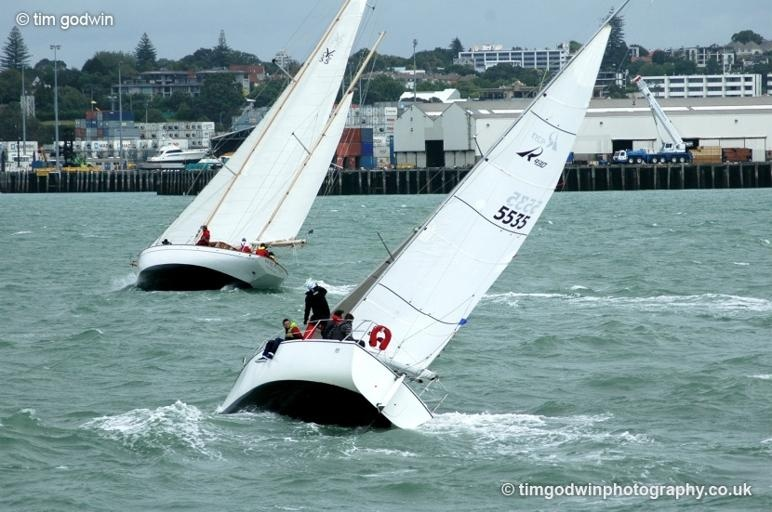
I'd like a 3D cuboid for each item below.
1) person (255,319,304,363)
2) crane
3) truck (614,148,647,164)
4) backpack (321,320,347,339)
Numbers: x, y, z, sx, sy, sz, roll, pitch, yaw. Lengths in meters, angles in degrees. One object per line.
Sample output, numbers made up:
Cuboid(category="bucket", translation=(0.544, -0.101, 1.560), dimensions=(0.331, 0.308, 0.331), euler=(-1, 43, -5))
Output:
Cuboid(category="person", translation=(-3.914, 3.139, 55.093), dimensions=(1.289, 1.529, 1.513), euler=(2, -9, 5))
Cuboid(category="crane", translation=(24.272, -11.703, 133.370), dimensions=(5.365, 7.223, 9.866), euler=(4, 4, 10))
Cuboid(category="truck", translation=(21.061, -8.514, 130.767), dimensions=(2.324, 0.834, 1.359), euler=(1, 1, -1))
Cuboid(category="backpack", translation=(-1.823, 2.682, 54.602), dimensions=(0.504, 0.365, 1.060), euler=(12, 34, 29))
